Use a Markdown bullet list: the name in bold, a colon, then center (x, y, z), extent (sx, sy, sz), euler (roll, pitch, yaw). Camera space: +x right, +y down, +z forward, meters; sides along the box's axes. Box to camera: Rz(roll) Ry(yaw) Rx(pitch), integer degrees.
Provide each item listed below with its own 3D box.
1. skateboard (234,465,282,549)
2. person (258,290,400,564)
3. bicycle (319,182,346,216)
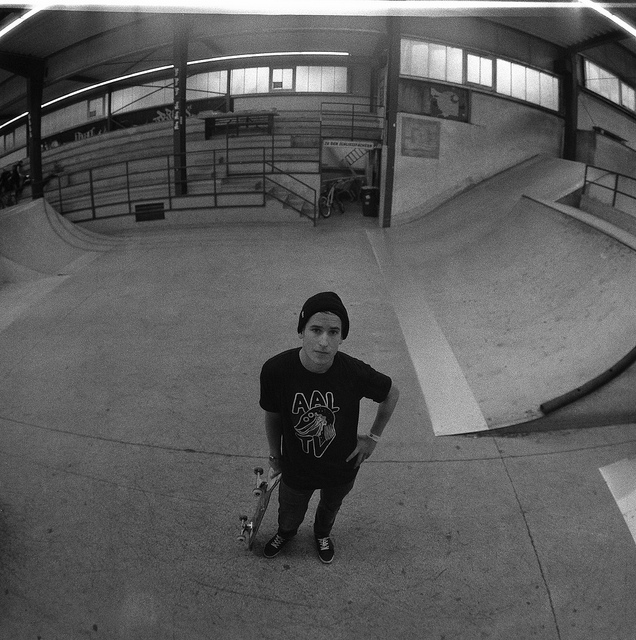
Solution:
- **skateboard**: center (-0.354, 1.075, 3.140), extent (0.088, 0.742, 0.175), euler (13, 11, -28)
- **person**: center (0.063, 0.663, 2.960), extent (0.722, 1.808, 0.402), euler (-1, 32, -7)
- **bicycle**: center (0.321, -2.904, 13.052), extent (0.544, 0.881, 1.265), euler (4, 11, -8)
